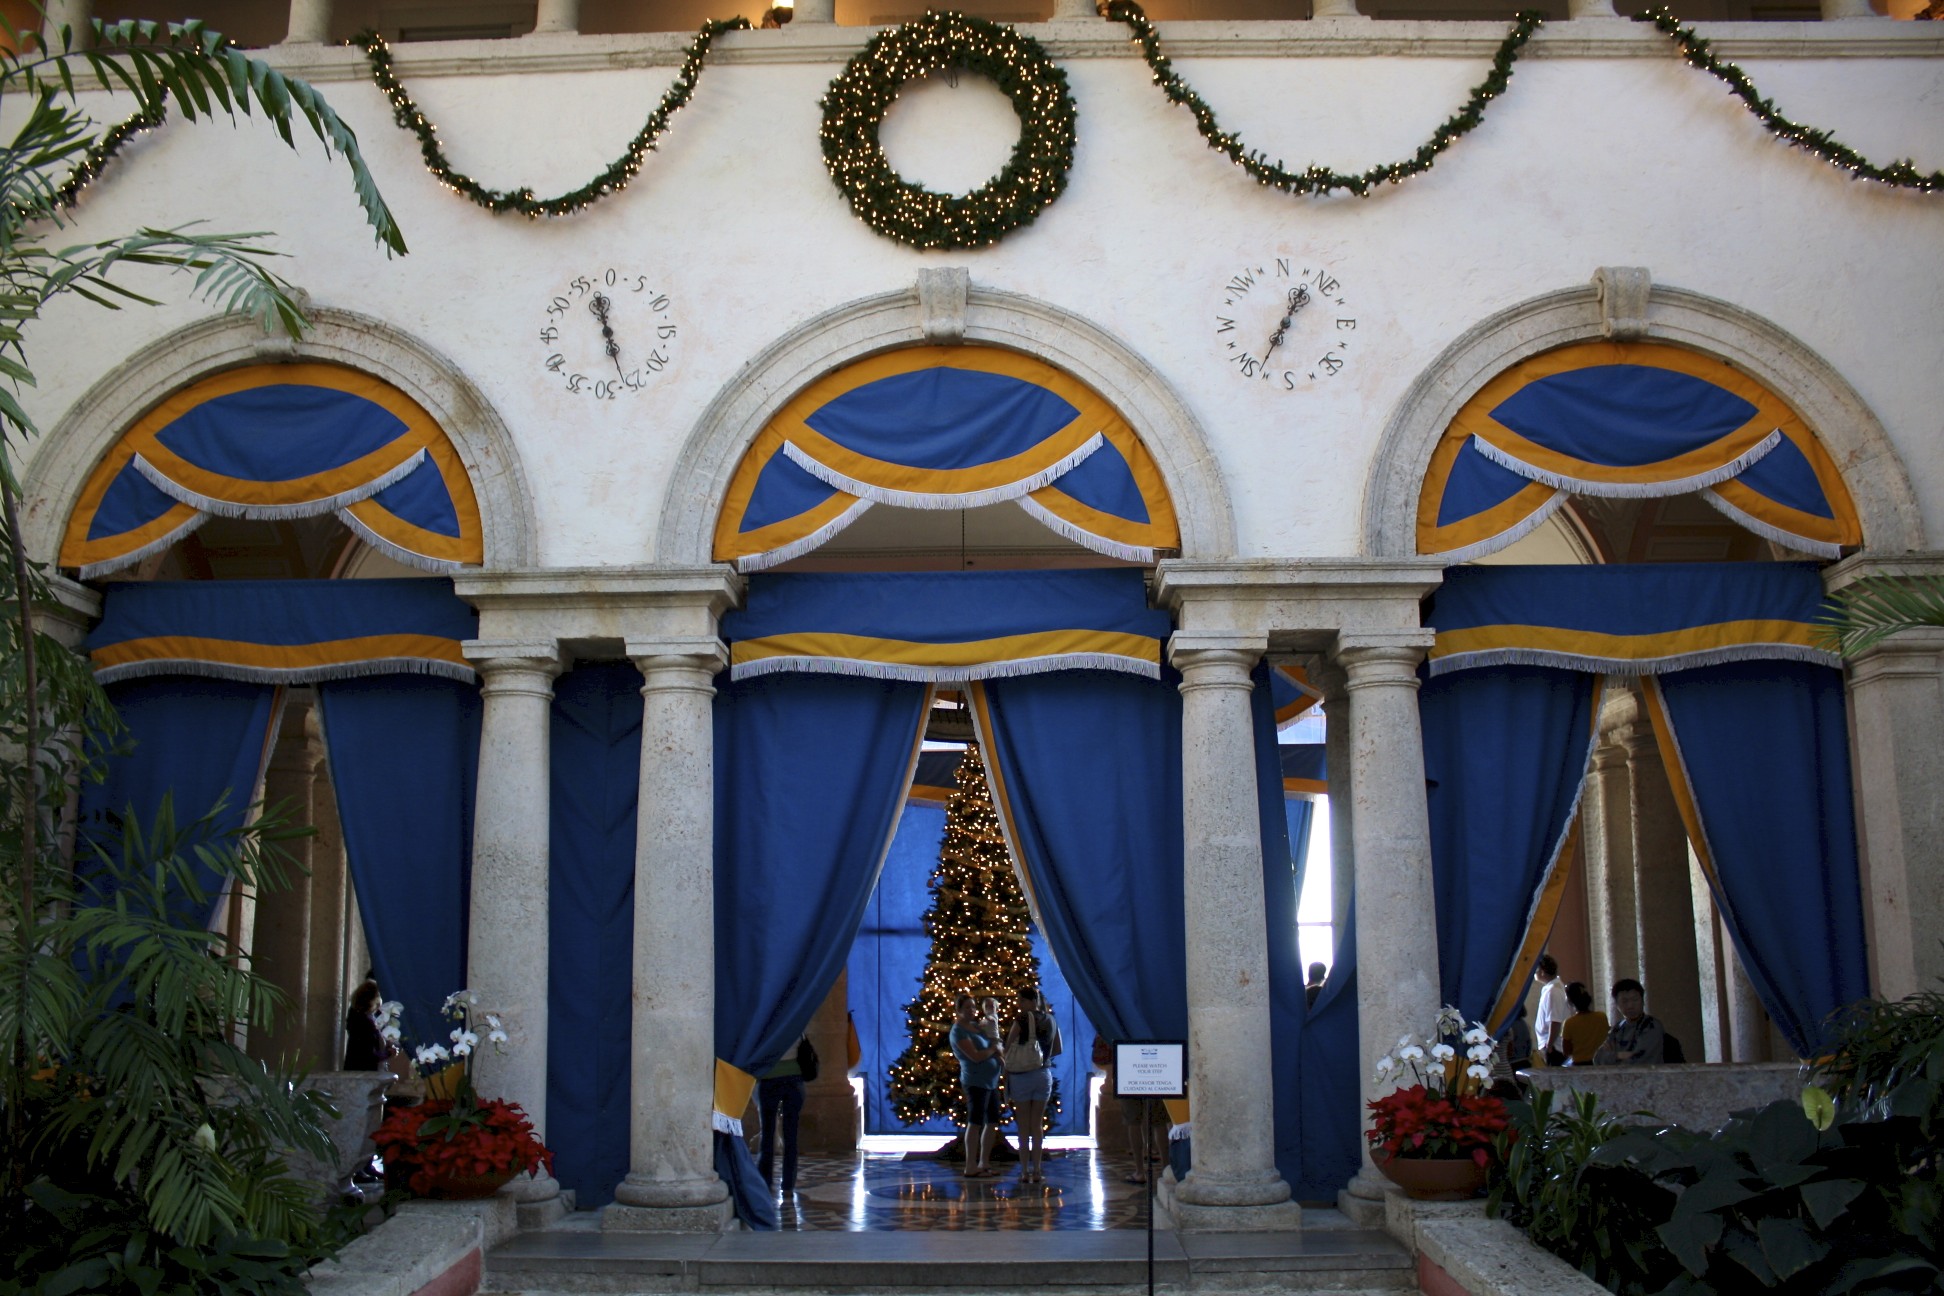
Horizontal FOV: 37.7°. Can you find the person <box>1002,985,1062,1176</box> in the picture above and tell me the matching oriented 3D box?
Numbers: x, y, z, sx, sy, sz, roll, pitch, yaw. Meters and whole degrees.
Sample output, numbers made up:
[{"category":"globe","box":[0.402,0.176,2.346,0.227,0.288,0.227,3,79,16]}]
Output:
[{"category":"person","box":[0.459,3.418,22.684,0.409,1.335,0.781,0,-13,1]}]

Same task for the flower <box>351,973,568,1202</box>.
[{"category":"flower","box":[-3.590,3.115,19.976,1.213,1.423,0.861,-1,-13,4]}]

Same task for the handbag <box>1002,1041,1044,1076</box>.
[{"category":"handbag","box":[0.413,3.227,22.577,0.317,0.280,0.265,0,-13,0]}]

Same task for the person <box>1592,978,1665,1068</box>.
[{"category":"person","box":[4.971,2.766,21.369,0.515,0.691,1.064,0,-13,2]}]

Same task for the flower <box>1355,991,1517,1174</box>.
[{"category":"flower","box":[3.233,3.009,19.637,0.958,1.101,1.103,3,-13,-12]}]
